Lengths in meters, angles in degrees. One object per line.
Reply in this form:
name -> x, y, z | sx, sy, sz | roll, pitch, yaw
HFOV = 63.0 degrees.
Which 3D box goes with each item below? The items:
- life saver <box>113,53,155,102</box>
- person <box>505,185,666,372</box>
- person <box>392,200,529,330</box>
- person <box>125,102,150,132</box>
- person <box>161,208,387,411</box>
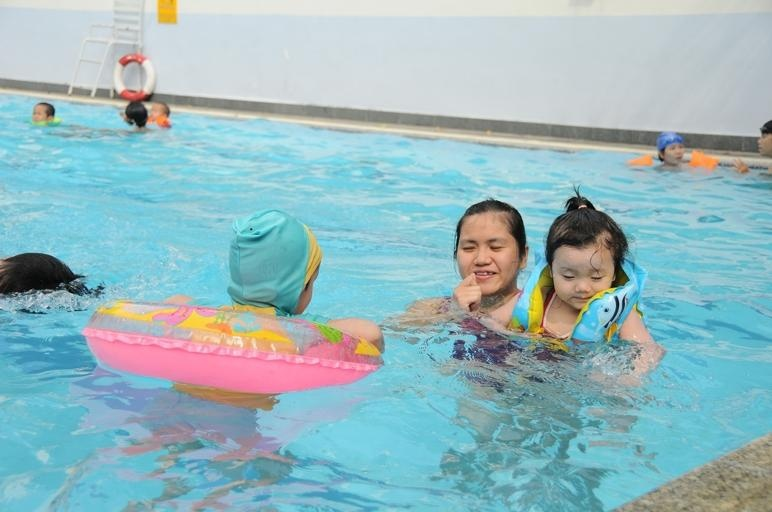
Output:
life saver -> -5.042, -3.590, 12.645 | 0.646, 0.922, 0.822 | -8, 21, -40
person -> 1.091, 0.143, 3.246 | 0.767, 0.760, 0.330 | 12, 18, 21
person -> 0.529, 0.016, 3.551 | 0.727, 0.334, 0.807 | 9, 42, 17
person -> -3.613, -2.027, 9.116 | 0.304, 0.358, 0.940 | 0, 15, -21
person -> -0.592, 0.293, 3.287 | 1.234, 0.667, 0.525 | 10, 21, 8
